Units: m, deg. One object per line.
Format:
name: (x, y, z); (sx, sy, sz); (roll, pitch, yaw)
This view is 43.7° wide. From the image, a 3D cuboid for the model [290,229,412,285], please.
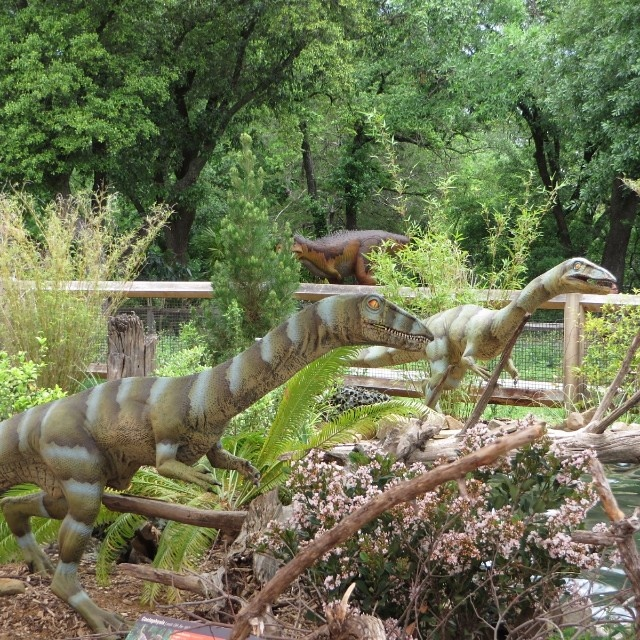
model: (0.310, -0.993, 12.723); (2.443, 0.983, 0.736); (0, 12, -9)
